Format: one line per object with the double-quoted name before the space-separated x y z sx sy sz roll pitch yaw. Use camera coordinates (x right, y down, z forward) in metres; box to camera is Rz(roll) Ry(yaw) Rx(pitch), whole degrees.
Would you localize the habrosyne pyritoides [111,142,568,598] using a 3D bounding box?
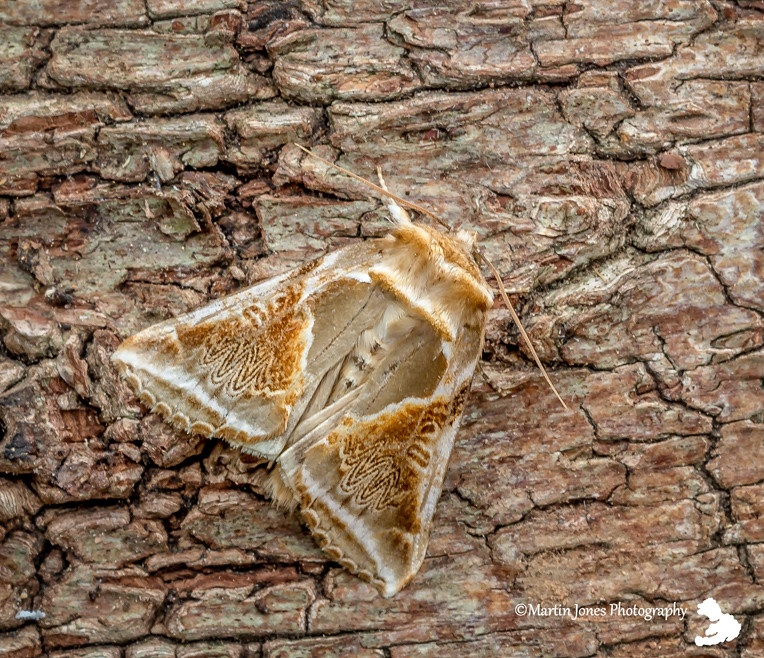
"habrosyne pyritoides" -0.118 0.198 5.617 1.707 0.497 1.779 -38 111 -12
